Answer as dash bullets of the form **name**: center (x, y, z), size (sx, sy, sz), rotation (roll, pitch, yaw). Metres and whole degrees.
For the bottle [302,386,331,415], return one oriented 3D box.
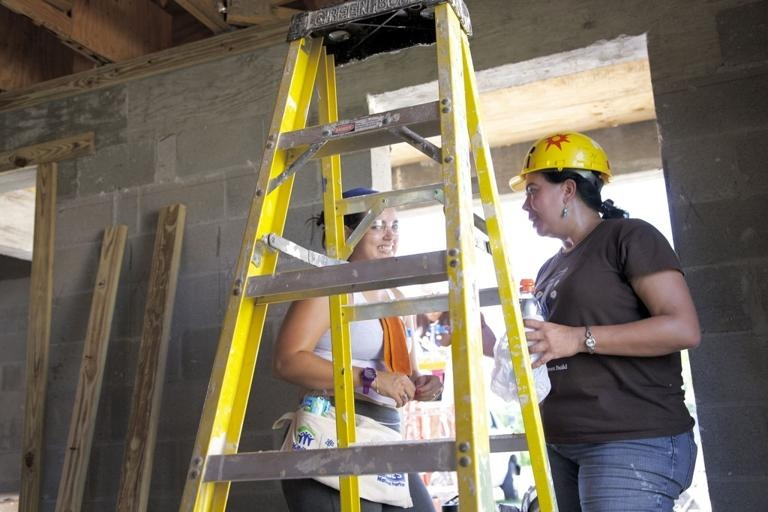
- **bottle**: center (-0.350, 0.772, 6.259), size (0.123, 0.113, 0.122), rotation (10, 12, 13)

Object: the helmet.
- **helmet**: center (1.001, -0.539, 6.615), size (0.429, 0.198, 0.302), rotation (4, -23, 13)
